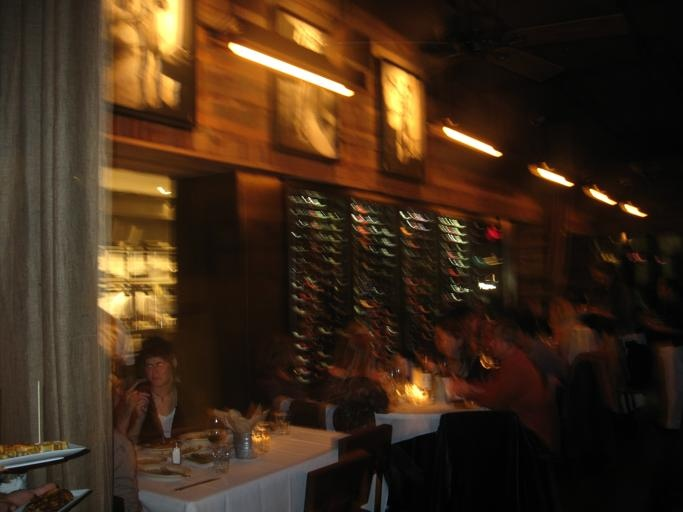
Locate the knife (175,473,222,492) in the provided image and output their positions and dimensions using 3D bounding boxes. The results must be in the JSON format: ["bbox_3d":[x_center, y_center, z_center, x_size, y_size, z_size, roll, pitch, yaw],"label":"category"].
[{"bbox_3d":[-0.826,1.301,3.856,0.274,0.014,0.037,-5,10,-40],"label":"knife"}]

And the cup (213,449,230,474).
[{"bbox_3d":[-0.709,1.214,3.990,0.116,0.127,0.118,1,-4,0],"label":"cup"}]

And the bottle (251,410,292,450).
[{"bbox_3d":[-0.509,1.153,4.442,0.136,0.211,0.246,-3,-9,27],"label":"bottle"}]

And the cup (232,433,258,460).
[{"bbox_3d":[-0.607,1.177,4.175,0.151,0.160,0.144,-3,-8,0],"label":"cup"}]

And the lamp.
[{"bbox_3d":[-0.439,-1.424,5.082,0.906,0.205,0.141,17,4,-36],"label":"lamp"}]
